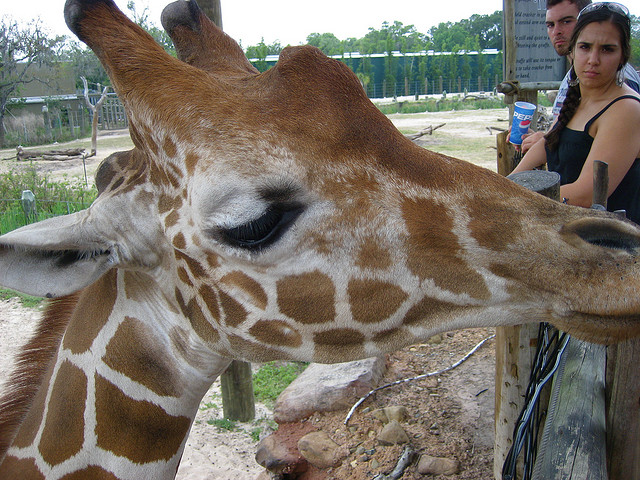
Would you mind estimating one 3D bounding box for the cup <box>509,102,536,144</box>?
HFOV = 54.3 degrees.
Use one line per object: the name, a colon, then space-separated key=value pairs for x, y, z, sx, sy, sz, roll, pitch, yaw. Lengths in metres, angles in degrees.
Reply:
cup: x=1.419 y=-0.827 z=4.402 sx=0.137 sy=0.261 sz=0.154 roll=5 pitch=14 yaw=-4
